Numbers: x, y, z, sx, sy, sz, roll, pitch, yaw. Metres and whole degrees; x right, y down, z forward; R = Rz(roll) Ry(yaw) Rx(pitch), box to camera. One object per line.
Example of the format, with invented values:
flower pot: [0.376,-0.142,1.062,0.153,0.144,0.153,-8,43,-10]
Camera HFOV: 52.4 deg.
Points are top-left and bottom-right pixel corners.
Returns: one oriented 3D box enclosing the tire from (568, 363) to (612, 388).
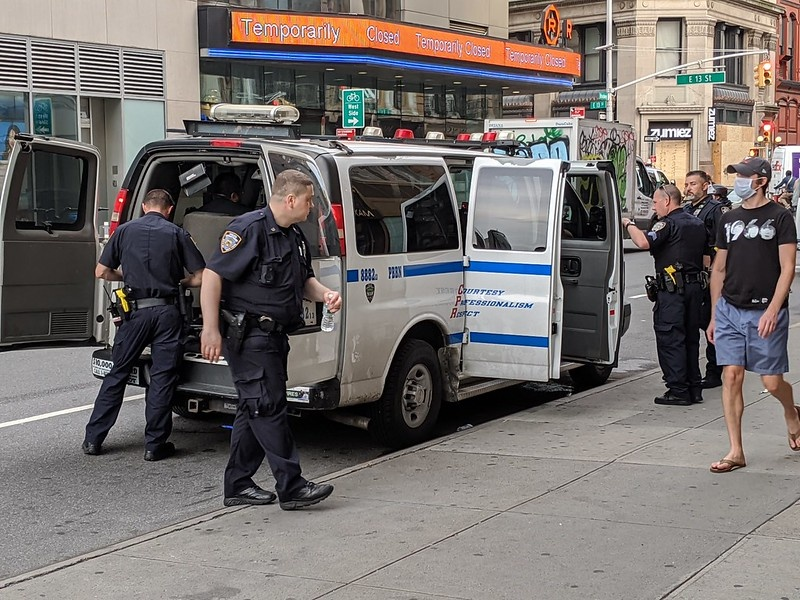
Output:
tire: [2.227,0.864,9.423,0.378,0.364,0.120,-2,19,-35]

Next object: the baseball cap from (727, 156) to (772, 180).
baseball cap: [2.657,-0.989,6.111,0.229,0.166,0.220,2,7,34]

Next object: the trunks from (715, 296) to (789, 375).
trunks: [2.724,0.254,6.260,0.576,0.567,0.342,5,5,42]

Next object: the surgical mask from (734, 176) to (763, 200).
surgical mask: [2.640,-0.849,6.125,0.169,0.105,0.145,-8,12,-15]

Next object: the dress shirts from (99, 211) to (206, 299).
dress shirts: [-2.092,-0.353,6.911,0.919,0.715,0.406,0,2,-5]

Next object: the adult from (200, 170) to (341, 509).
adult: [-0.899,0.289,5.573,0.891,2.271,1.027,4,2,42]

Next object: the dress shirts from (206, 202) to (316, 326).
dress shirts: [-0.973,-0.198,5.489,0.622,0.828,0.208,-3,6,-16]

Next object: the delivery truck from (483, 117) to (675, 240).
delivery truck: [5.298,-3.393,24.192,3.390,3.294,6.458,8,8,37]

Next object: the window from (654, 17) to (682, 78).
window: [15.305,-14.411,46.983,0.300,3.456,1.803,-34,23,-13]

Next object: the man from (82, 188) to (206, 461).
man: [-2.146,0.150,7.034,1.022,2.205,0.680,3,3,1]

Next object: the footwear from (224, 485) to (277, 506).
footwear: [-1.032,1.377,5.744,0.377,0.144,0.136,-2,-1,3]

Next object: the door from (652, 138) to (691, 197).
door: [16.036,-8.174,47.844,1.884,3.341,0.380,6,25,25]

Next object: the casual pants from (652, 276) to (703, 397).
casual pants: [2.934,0.433,8.452,0.498,1.179,0.463,-1,6,10]

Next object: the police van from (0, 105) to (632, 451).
police van: [0.232,-0.250,7.934,3.387,1.964,4.740,6,9,38]

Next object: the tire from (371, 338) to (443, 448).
tire: [0.072,0.820,7.178,0.188,0.926,0.841,3,8,39]

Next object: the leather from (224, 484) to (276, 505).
leather: [-1.035,1.378,5.745,0.376,0.143,0.136,-2,0,3]

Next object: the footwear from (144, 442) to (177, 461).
footwear: [-2.005,1.277,6.884,0.110,0.123,0.296,7,13,27]
